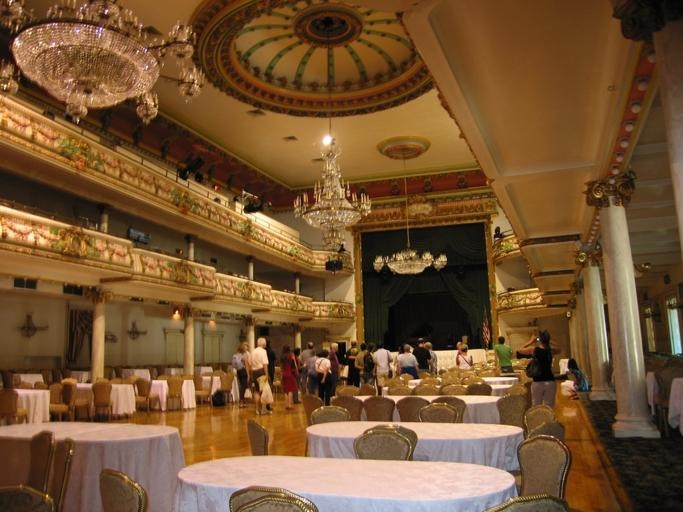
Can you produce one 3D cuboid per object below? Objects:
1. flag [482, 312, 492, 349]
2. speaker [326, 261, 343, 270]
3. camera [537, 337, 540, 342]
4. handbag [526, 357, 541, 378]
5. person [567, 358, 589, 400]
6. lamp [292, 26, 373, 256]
[{"bbox_3d":[6.825,3.494,25.155,0.436,1.687,1.286,-3,-8,15],"label":"flag"},{"bbox_3d":[-0.281,0.390,24.764,0.512,0.535,0.516,-1,1,-36],"label":"speaker"},{"bbox_3d":[3.082,1.315,8.371,0.042,0.055,0.016,-1,4,-21],"label":"camera"},{"bbox_3d":[3.023,1.754,8.389,0.271,0.292,0.283,-14,-14,34],"label":"handbag"},{"bbox_3d":[6.777,3.529,15.114,0.469,1.079,0.354,-26,10,-20],"label":"person"},{"bbox_3d":[-0.274,-1.851,14.517,1.735,3.229,1.776,-3,0,2],"label":"lamp"}]
